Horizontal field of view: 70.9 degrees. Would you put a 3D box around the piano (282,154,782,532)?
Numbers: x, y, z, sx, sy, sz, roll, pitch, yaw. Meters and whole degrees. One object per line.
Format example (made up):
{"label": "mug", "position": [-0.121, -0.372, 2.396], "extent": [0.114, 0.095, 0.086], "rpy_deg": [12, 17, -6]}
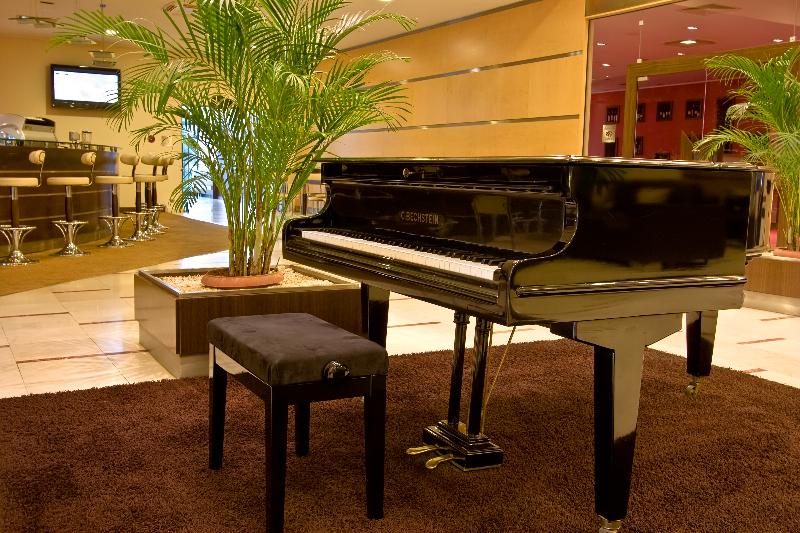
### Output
{"label": "piano", "position": [0.750, -0.052, 2.673], "extent": [2.011, 1.187, 1.643], "rpy_deg": [-2, 4, -35]}

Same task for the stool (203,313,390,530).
{"label": "stool", "position": [-0.470, 0.417, 2.455], "extent": [0.682, 0.847, 1.214], "rpy_deg": [2, 2, -24]}
